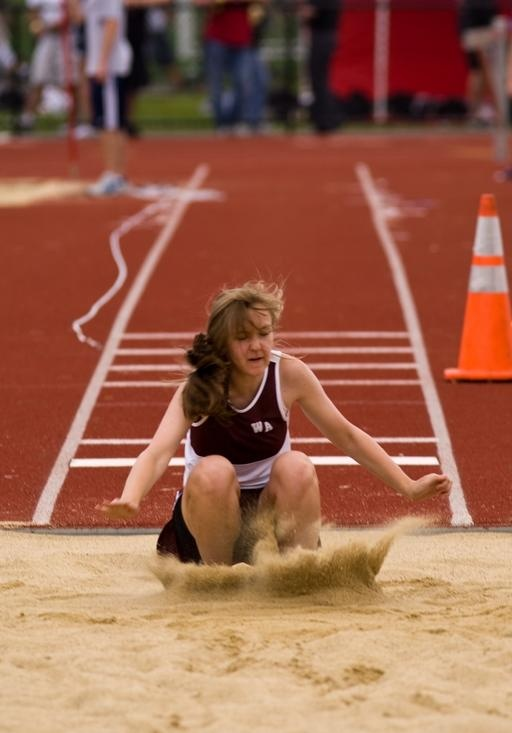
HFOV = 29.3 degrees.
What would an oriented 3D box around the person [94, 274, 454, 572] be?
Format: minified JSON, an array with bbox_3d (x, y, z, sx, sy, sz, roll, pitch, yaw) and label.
[{"bbox_3d":[0.008,0.186,2.825,0.929,0.858,0.534,-2,5,-15],"label":"person"}]
